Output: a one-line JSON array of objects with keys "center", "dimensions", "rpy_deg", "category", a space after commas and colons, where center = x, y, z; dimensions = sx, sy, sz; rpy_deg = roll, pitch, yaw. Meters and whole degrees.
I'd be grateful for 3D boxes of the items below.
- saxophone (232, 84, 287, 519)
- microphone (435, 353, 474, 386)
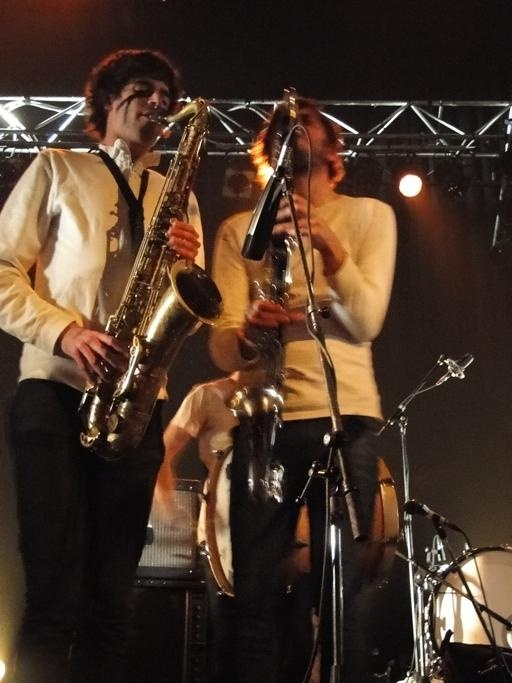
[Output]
[{"center": [-0.033, -0.087, 2.216], "dimensions": [0.240, 1.118, 0.191], "rpy_deg": [-1, 1, -4], "category": "saxophone"}, {"center": [1.399, 0.201, 5.318], "dimensions": [0.125, 0.244, 0.509], "rpy_deg": [-36, -12, -1], "category": "microphone"}]
